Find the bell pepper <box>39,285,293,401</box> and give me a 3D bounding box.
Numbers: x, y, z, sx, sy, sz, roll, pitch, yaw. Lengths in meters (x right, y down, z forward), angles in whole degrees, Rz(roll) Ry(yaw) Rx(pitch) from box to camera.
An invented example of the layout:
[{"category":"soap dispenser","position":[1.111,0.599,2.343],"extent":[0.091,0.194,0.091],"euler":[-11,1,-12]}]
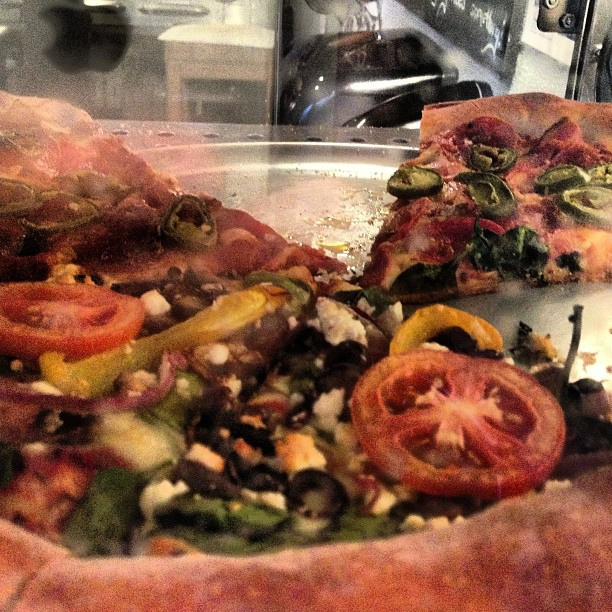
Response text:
[{"category":"bell pepper","position":[-0.320,0.046,1.016],"extent":[0.583,0.141,0.181],"euler":[-8,34,28]}]
